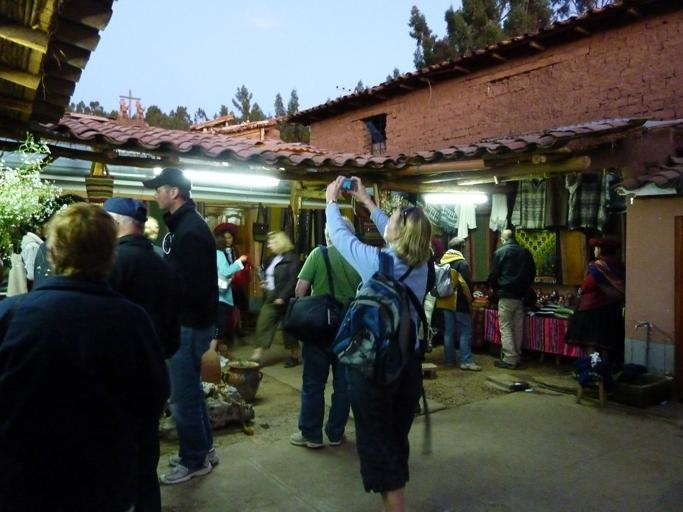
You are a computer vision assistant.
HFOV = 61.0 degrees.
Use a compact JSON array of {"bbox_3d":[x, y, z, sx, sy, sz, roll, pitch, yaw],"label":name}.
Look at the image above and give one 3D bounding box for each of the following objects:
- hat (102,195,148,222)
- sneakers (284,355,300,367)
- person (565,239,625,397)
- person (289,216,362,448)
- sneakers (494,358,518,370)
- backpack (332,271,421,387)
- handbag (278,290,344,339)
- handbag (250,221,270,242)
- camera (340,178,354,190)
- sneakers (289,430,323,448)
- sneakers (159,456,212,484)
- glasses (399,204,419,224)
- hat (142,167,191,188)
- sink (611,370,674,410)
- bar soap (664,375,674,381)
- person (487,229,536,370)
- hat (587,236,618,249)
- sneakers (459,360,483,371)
[{"bbox_3d":[-1.661,-0.370,4.474,0.257,0.141,0.185,22,3,-7],"label":"hat"},{"bbox_3d":[-0.712,1.574,8.547,0.110,0.112,0.252,-3,-13,18],"label":"sneakers"},{"bbox_3d":[3.251,0.693,7.439,0.700,1.774,1.533,2,5,26],"label":"person"},{"bbox_3d":[-0.253,0.766,5.890,0.590,2.216,0.724,-12,-26,31],"label":"person"},{"bbox_3d":[2.505,1.633,8.863,0.312,0.152,0.140,15,7,44],"label":"sneakers"},{"bbox_3d":[0.225,0.508,4.163,0.557,0.789,0.162,0,4,-4],"label":"backpack"},{"bbox_3d":[-0.292,0.597,5.586,0.515,0.404,0.399,-8,-27,27],"label":"handbag"},{"bbox_3d":[-1.356,-0.401,9.635,0.275,0.303,0.101,1,2,-33],"label":"handbag"},{"bbox_3d":[0.051,-0.654,5.220,0.128,0.140,0.097,7,-5,-17],"label":"camera"},{"bbox_3d":[-0.334,1.789,5.699,0.301,0.169,0.138,10,-2,21],"label":"sneakers"},{"bbox_3d":[-1.345,1.853,5.029,0.422,0.196,0.155,8,-7,-29],"label":"sneakers"},{"bbox_3d":[0.493,-0.327,4.346,0.103,0.078,0.143,0,0,-17],"label":"glasses"},{"bbox_3d":[-1.499,-0.652,4.967,0.300,0.161,0.188,-1,2,-15],"label":"hat"},{"bbox_3d":[3.602,1.614,6.870,0.777,0.290,0.323,0,5,0],"label":"sink"},{"bbox_3d":[3.953,1.477,6.999,0.062,0.043,0.062,2,-3,-28],"label":"bar soap"},{"bbox_3d":[2.605,0.652,8.883,0.657,2.064,0.411,1,4,14],"label":"person"},{"bbox_3d":[3.488,-0.177,7.792,0.293,0.111,0.286,1,-4,-39],"label":"hat"},{"bbox_3d":[1.927,1.636,8.654,0.324,0.153,0.121,-1,-1,7],"label":"sneakers"}]
